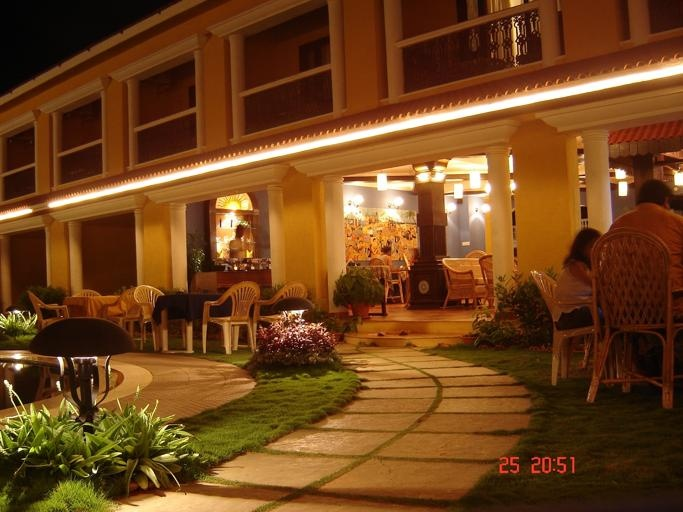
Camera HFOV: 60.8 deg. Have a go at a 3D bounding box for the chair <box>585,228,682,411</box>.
[{"bbox_3d":[2.457,0.498,4.969,0.763,1.504,0.742,-3,0,22],"label":"chair"}]

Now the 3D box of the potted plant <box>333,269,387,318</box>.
[{"bbox_3d":[0.330,0.666,10.878,0.825,0.910,0.860,-1,-1,11],"label":"potted plant"}]

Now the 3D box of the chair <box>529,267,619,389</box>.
[{"bbox_3d":[2.345,0.695,6.081,0.985,1.457,0.907,-2,0,10],"label":"chair"}]

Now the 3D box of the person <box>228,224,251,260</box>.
[{"bbox_3d":[-2.944,-0.414,16.601,0.534,1.008,1.907,-3,0,-10],"label":"person"}]
